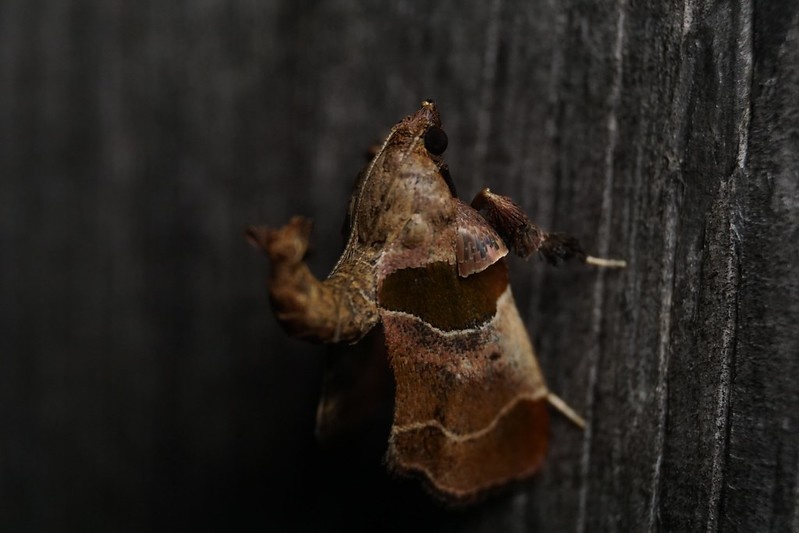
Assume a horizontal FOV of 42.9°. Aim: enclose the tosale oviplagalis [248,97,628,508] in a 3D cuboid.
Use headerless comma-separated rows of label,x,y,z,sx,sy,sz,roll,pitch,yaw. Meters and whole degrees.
tosale oviplagalis,-0.011,0.068,2.428,0.997,0.323,1.054,-14,38,10
